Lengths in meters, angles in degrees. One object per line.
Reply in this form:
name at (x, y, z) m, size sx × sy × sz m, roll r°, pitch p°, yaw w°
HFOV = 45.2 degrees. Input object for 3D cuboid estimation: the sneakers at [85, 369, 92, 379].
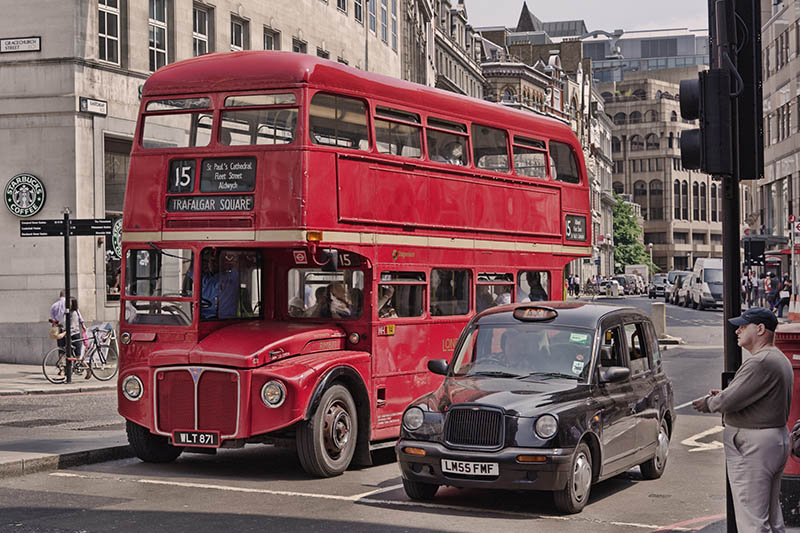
sneakers at (-7.937, 2.718, 24.306) m, size 0.142 × 0.245 × 0.585 m, roll -2°, pitch -3°, yaw -18°

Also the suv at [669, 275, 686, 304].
suv at (19.472, 1.429, 66.979) m, size 1.191 × 1.150 × 2.139 m, roll 2°, pitch 4°, yaw 7°

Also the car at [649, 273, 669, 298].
car at (22.466, 1.689, 84.004) m, size 1.267 × 1.320 × 2.388 m, roll 0°, pitch -2°, yaw 5°

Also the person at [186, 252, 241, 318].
person at (-2.790, 0.262, 14.067) m, size 0.672 × 1.543 × 0.539 m, roll -3°, pitch -25°, yaw -6°

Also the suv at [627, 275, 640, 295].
suv at (22.070, 1.696, 90.658) m, size 1.137 × 1.051 × 2.134 m, roll -1°, pitch -4°, yaw 13°

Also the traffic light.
traffic light at (3.103, -1.454, 9.758) m, size 0.516 × 0.871 × 0.399 m, roll -4°, pitch -2°, yaw 17°

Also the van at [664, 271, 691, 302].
van at (20.630, 1.357, 71.631) m, size 1.498 × 1.644 × 2.816 m, roll 1°, pitch 4°, yaw 6°

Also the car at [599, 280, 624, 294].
car at (18.164, 1.886, 83.013) m, size 1.392 × 1.321 × 2.454 m, roll 3°, pitch 7°, yaw 33°

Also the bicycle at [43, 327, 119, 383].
bicycle at (-8.163, 2.285, 24.472) m, size 1.998 × 1.263 × 0.876 m, roll -4°, pitch -5°, yaw 1°

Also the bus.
bus at (-0.204, -0.399, 17.871) m, size 3.428 × 5.514 × 10.534 m, roll 3°, pitch 2°, yaw 30°

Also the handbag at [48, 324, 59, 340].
handbag at (-8.852, 1.642, 24.525) m, size 0.211 × 0.347 × 0.493 m, roll -2°, pitch -3°, yaw -22°

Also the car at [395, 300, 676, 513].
car at (1.830, 1.716, 12.326) m, size 3.719 × 1.735 × 1.854 m, roll -1°, pitch -3°, yaw -40°

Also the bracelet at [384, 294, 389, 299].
bracelet at (-0.227, 0.442, 14.509) m, size 0.053 × 0.052 × 0.054 m, roll 0°, pitch -4°, yaw 39°

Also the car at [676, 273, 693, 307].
car at (18.673, 1.513, 62.994) m, size 1.213 × 1.227 × 2.285 m, roll 1°, pitch 4°, yaw 8°

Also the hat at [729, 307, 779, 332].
hat at (3.330, 0.487, 9.015) m, size 0.330 × 0.172 × 0.220 m, roll 3°, pitch -4°, yaw 22°

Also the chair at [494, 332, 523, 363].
chair at (1.411, 1.028, 12.438) m, size 0.297 × 0.423 × 0.400 m, roll 4°, pitch 7°, yaw 10°
